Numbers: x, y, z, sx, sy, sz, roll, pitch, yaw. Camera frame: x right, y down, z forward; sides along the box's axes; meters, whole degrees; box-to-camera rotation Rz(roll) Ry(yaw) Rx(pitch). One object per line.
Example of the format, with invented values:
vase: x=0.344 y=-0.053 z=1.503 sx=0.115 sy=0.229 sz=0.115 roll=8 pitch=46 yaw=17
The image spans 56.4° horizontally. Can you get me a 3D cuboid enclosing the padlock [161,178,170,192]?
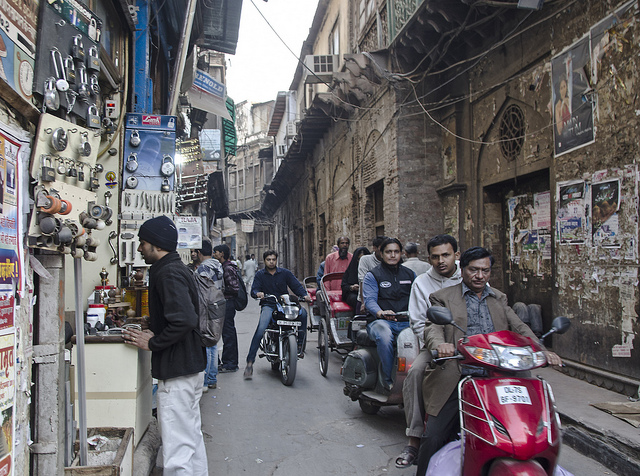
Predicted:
padlock: x=-2.066 y=-0.710 z=7.930 sx=0.105 sy=0.171 sz=0.059 roll=-3 pitch=3 yaw=-3

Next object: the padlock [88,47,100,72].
padlock: x=-2.062 y=-1.630 z=5.437 sx=0.060 sy=0.211 sz=0.196 roll=-2 pitch=3 yaw=8

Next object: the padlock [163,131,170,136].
padlock: x=-2.064 y=-1.406 z=7.989 sx=0.075 sy=0.060 sz=0.018 roll=-5 pitch=4 yaw=-21

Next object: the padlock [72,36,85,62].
padlock: x=-2.128 y=-1.657 z=5.223 sx=0.040 sy=0.210 sz=0.177 roll=-2 pitch=3 yaw=10

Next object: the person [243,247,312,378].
person: x=-0.620 y=1.284 z=9.664 sx=0.973 sy=1.467 sz=2.358 roll=3 pitch=6 yaw=-14

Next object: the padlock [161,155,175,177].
padlock: x=-2.047 y=-0.969 z=7.965 sx=0.179 sy=0.279 sz=0.123 roll=-5 pitch=4 yaw=-27

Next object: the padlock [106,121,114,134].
padlock: x=-2.571 y=-1.344 z=7.273 sx=0.086 sy=0.127 sz=0.225 roll=-4 pitch=3 yaw=-10

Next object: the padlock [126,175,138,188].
padlock: x=-2.477 y=-0.742 z=7.816 sx=0.143 sy=0.151 sz=0.052 roll=-3 pitch=3 yaw=11

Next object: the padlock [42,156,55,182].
padlock: x=-2.024 y=-0.518 z=4.423 sx=0.043 sy=0.186 sz=0.109 roll=-2 pitch=3 yaw=16

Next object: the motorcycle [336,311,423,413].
motorcycle: x=0.686 y=1.488 z=7.029 sx=0.582 sy=1.021 sz=1.416 roll=2 pitch=-1 yaw=14

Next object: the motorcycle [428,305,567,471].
motorcycle: x=1.518 y=1.196 z=4.592 sx=0.731 sy=1.083 sz=1.493 roll=3 pitch=-14 yaw=-4

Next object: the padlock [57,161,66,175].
padlock: x=-1.993 y=-0.542 z=4.570 sx=0.064 sy=0.111 sz=0.046 roll=-1 pitch=2 yaw=4

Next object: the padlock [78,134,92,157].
padlock: x=-1.920 y=-0.756 z=4.851 sx=0.068 sy=0.181 sz=0.158 roll=-3 pitch=3 yaw=-4

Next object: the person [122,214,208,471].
person: x=-1.321 y=0.954 z=5.214 sx=0.580 sy=2.292 sz=0.479 roll=-3 pitch=3 yaw=-7

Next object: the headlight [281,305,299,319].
headlight: x=-0.434 y=1.100 z=8.885 sx=0.145 sy=0.179 sz=0.196 roll=4 pitch=-23 yaw=-7

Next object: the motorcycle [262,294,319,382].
motorcycle: x=-0.511 y=1.530 z=9.069 sx=0.663 sy=1.255 sz=1.277 roll=-4 pitch=3 yaw=-15

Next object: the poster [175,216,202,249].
poster: x=-2.284 y=-0.096 z=10.281 sx=0.480 sy=0.654 sz=0.056 roll=0 pitch=-28 yaw=-17

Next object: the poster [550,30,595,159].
poster: x=3.503 y=-1.961 z=8.258 sx=0.174 sy=1.595 sz=0.927 roll=-3 pitch=3 yaw=-10

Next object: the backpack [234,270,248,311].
backpack: x=-1.279 y=0.835 z=9.437 sx=0.194 sy=0.628 sz=0.383 roll=-3 pitch=3 yaw=-9

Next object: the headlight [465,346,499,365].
headlight: x=1.276 y=0.897 z=4.615 sx=0.205 sy=0.104 sz=0.063 roll=25 pitch=5 yaw=28

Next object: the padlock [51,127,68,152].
padlock: x=-1.997 y=-0.757 z=4.560 sx=0.030 sy=0.155 sz=0.142 roll=-4 pitch=-13 yaw=17

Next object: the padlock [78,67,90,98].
padlock: x=-2.108 y=-1.369 z=5.300 sx=0.056 sy=0.272 sz=0.316 roll=-4 pitch=3 yaw=-12

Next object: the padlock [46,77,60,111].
padlock: x=-2.116 y=-1.145 z=4.685 sx=0.076 sy=0.275 sz=0.172 roll=-4 pitch=3 yaw=-13

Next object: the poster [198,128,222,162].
poster: x=-4.564 y=-3.899 z=24.540 sx=0.896 sy=1.447 sz=0.143 roll=-3 pitch=34 yaw=-15

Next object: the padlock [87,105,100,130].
padlock: x=-2.068 y=-1.109 z=5.438 sx=0.090 sy=0.214 sz=0.179 roll=-3 pitch=3 yaw=-6

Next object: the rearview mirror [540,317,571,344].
rearview mirror: x=1.997 y=0.738 z=5.006 sx=0.269 sy=0.161 sz=0.124 roll=-40 pitch=-35 yaw=15

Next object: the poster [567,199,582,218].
poster: x=3.513 y=-0.415 z=8.173 sx=0.031 sy=0.263 sz=0.244 roll=3 pitch=0 yaw=-17

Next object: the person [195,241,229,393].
person: x=-1.257 y=0.865 z=6.364 sx=0.522 sy=1.676 sz=0.531 roll=2 pitch=6 yaw=0
